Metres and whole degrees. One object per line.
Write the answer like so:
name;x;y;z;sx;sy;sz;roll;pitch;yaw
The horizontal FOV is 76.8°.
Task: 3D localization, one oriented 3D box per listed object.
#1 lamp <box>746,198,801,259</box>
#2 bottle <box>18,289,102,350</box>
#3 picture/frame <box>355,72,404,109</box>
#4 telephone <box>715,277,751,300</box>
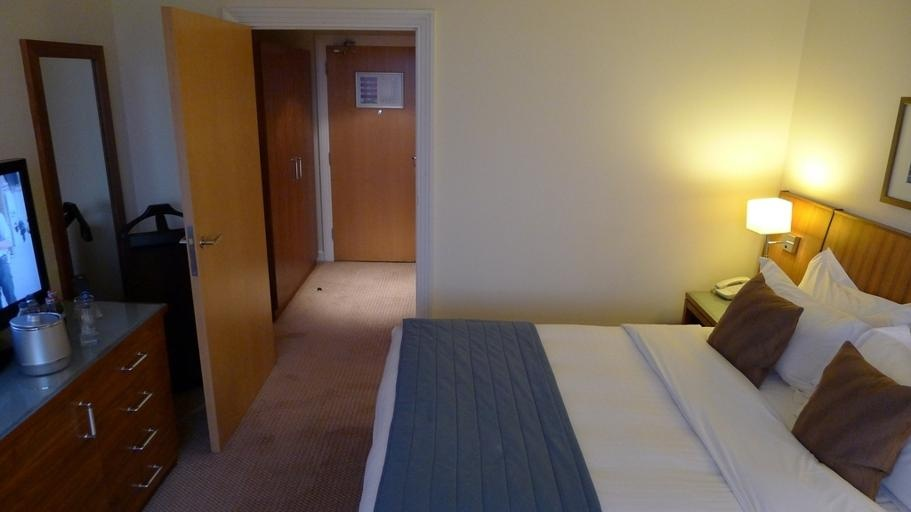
lamp;2.567;-0.171;4.723;0.343;0.543;0.299;-7;-1;-13
bottle;-2.453;0.385;3.573;0.468;0.319;0.268;0;14;-44
picture/frame;-0.885;-1.951;6.672;0.436;0.294;0.017;0;20;-5
telephone;2.345;0.301;4.898;0.295;0.074;0.202;-16;37;21
